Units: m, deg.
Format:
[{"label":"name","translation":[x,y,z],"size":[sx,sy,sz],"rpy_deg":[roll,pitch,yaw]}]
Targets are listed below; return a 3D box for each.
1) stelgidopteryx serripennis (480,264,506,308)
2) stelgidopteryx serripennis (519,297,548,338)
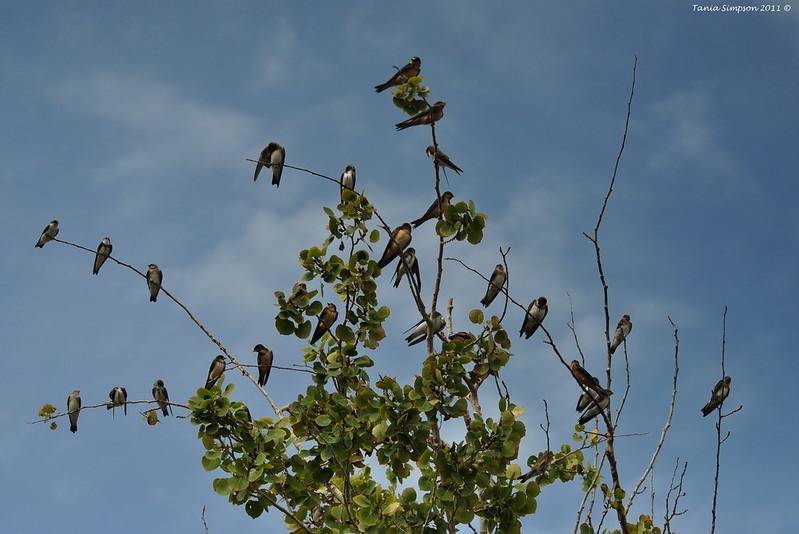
[{"label":"stelgidopteryx serripennis","translation":[1.062,0.224,14.989],"size":[0.155,0.220,0.558],"rpy_deg":[19,-77,-3]},{"label":"stelgidopteryx serripennis","translation":[1.580,0.601,15.673],"size":[0.230,0.285,0.674],"rpy_deg":[24,-34,6]}]
